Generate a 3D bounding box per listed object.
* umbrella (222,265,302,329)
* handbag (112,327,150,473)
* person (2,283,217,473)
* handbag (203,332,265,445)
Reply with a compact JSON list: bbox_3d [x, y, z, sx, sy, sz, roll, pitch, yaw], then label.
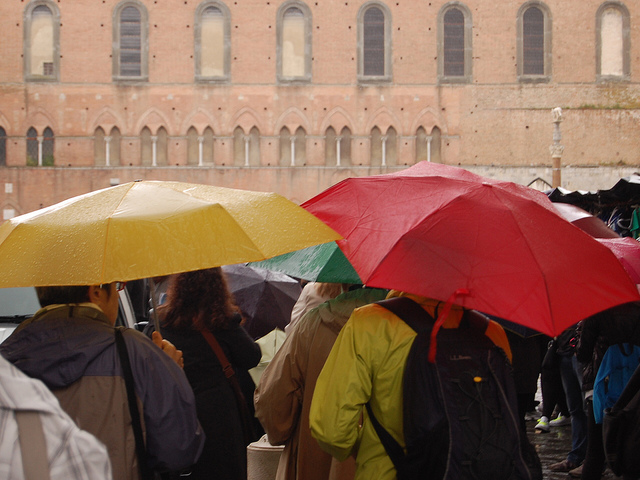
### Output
[{"bbox_3d":[-0.614,0.590,11.041,0.635,0.708,0.462,2,-27,-23],"label":"umbrella"},{"bbox_3d":[-1.420,1.068,8.061,0.147,1.548,0.158,-9,-6,30],"label":"handbag"},{"bbox_3d":[-1.548,1.070,8.019,1.247,1.324,0.776,-2,21,24],"label":"person"},{"bbox_3d":[-0.719,1.284,9.400,0.328,0.974,0.882,0,-3,15],"label":"handbag"}]
